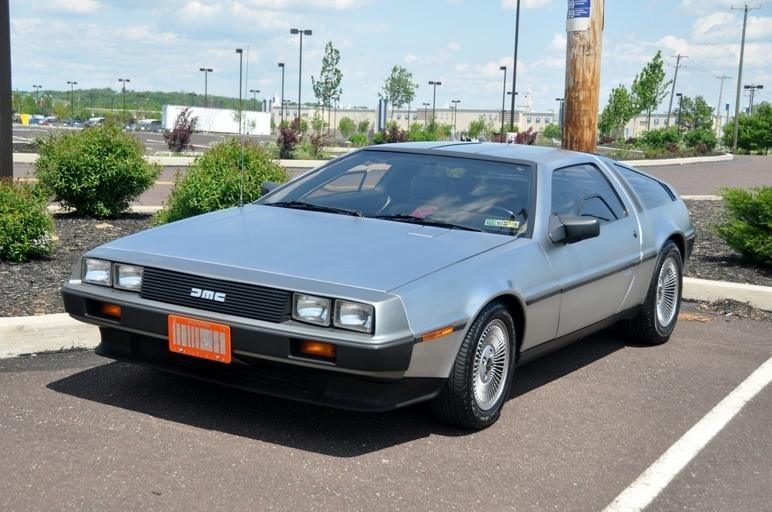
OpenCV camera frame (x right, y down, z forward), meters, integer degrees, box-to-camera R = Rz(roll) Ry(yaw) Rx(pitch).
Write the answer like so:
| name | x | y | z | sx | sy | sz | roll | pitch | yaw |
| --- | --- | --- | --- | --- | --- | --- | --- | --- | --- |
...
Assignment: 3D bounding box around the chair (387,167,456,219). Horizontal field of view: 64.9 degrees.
| name | x | y | z | sx | sy | sz | roll | pitch | yaw |
| --- | --- | --- | --- | --- | --- | --- | --- | --- | --- |
| chair | 0.342 | -0.547 | 5.162 | 0.339 | 0.285 | 0.592 | 5 | 13 | 23 |
